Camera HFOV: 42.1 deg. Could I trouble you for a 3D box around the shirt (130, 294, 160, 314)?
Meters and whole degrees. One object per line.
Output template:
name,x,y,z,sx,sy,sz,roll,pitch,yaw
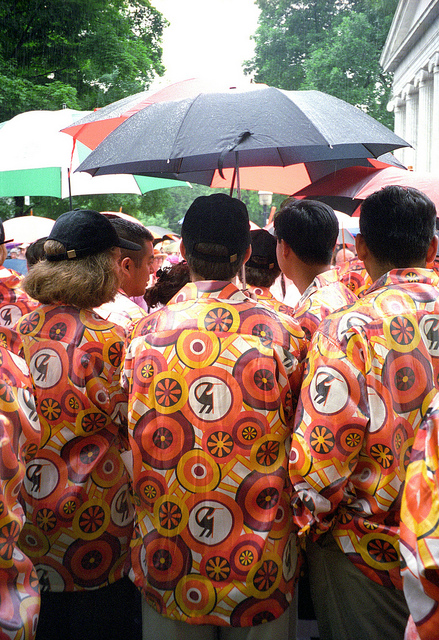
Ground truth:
shirt,-0.412,-0.091,3.143,0.117,0.149,0.140,-10,9,2

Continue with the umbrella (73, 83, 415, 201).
umbrella,0.054,-0.652,2.061,1.171,0.414,1.039,6,15,20

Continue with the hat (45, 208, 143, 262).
hat,-0.478,-0.347,2.213,0.379,0.184,0.238,-13,16,-35

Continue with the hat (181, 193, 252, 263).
hat,-0.008,-0.311,1.896,0.228,0.216,0.197,-1,14,-6

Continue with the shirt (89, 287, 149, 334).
shirt,-0.417,-0.039,2.434,0.196,0.090,0.232,37,18,-2

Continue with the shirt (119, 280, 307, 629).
shirt,-0.036,0.404,1.804,0.557,1.010,0.421,1,14,3
